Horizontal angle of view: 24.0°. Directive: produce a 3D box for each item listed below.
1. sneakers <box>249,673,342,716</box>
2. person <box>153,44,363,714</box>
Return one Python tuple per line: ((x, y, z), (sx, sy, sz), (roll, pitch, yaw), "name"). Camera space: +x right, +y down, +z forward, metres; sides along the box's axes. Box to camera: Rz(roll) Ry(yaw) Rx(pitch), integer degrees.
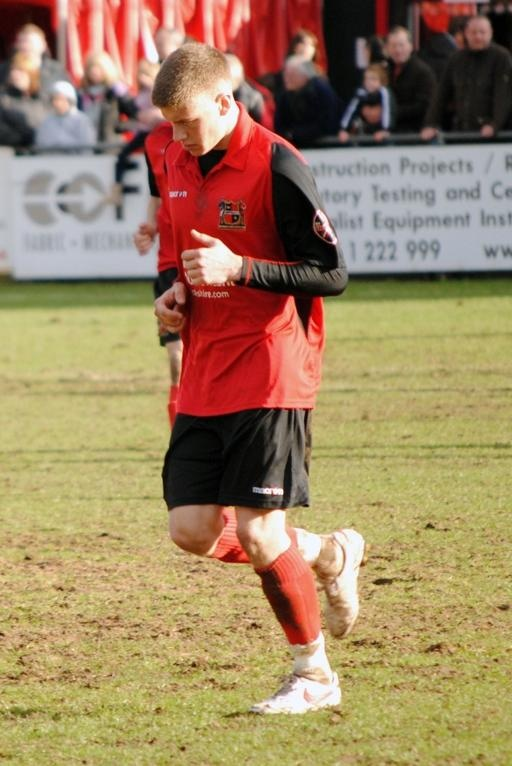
((0.123, 0.830, 3.223), (0.264, 0.091, 0.090), (-6, -3, -20), "sneakers")
((-0.020, -0.029, 3.219), (0.534, 1.739, 0.546), (-1, 13, 7), "person")
